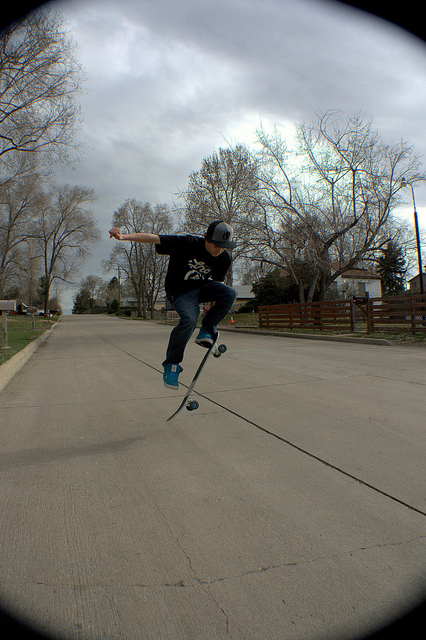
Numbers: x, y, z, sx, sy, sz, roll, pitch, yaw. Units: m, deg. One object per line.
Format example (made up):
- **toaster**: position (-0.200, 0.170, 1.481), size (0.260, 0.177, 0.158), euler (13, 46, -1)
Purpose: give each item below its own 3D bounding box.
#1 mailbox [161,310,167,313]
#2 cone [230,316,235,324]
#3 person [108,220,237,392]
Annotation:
- **mailbox**: position (-3.791, -0.597, 31.115), size (0.496, 0.255, 0.704), euler (4, 2, -10)
- **cone**: position (1.203, 0.002, 24.114), size (0.330, 0.517, 0.356), euler (0, -5, -18)
- **person**: position (-0.299, -0.143, 3.814), size (1.129, 1.639, 0.859), euler (-5, 19, -20)
